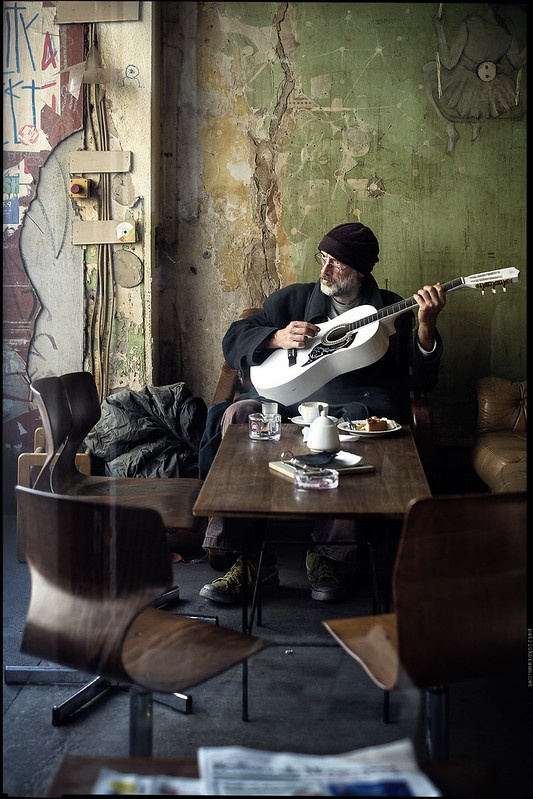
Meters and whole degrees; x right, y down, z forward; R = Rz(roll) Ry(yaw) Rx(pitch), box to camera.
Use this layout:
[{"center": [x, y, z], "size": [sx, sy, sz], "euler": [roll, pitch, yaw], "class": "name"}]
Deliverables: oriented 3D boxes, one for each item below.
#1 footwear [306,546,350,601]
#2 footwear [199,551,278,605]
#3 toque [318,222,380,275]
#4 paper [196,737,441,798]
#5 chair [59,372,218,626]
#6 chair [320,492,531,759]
[{"center": [0.079, 0.229, 0.858], "size": [0.032, 0.037, 0.082], "euler": [-1, -5, -8], "class": "footwear"}, {"center": [-0.036, 0.228, 0.883], "size": [0.119, 0.072, 0.051], "euler": [-3, 5, 4], "class": "footwear"}, {"center": [0.112, -0.214, 0.866], "size": [0.067, 0.068, 0.058], "euler": [-5, 38, -4], "class": "toque"}, {"center": [0.056, 0.422, 0.770], "size": [0.262, 0.039, 0.173], "euler": [4, -7, -1], "class": "paper"}, {"center": [-0.128, 0.113, 1.012], "size": [0.270, 0.453, 0.236], "euler": [0, 9, 3], "class": "chair"}, {"center": [0.222, 0.283, 0.827], "size": [0.267, 0.343, 0.170], "euler": [4, -7, -13], "class": "chair"}]
